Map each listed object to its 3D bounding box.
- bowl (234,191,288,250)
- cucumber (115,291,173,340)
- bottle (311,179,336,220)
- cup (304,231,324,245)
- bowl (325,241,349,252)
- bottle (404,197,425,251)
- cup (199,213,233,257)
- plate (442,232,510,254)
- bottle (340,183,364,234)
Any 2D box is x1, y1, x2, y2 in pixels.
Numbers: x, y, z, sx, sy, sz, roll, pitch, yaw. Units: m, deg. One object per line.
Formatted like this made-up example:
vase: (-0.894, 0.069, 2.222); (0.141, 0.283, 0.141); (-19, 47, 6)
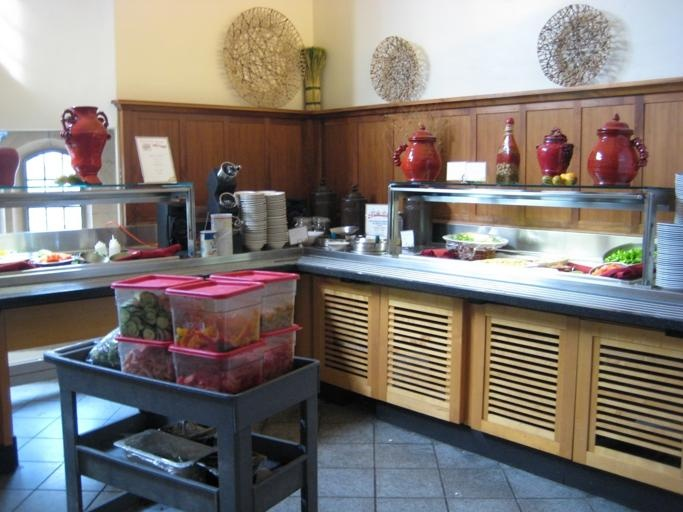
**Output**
bowl: (-0.599, -0.272, 4.313); (0.387, 0.445, 0.288); (-5, 14, -16)
cucumber: (-0.746, 0.205, 2.100); (0.202, 0.136, 0.192); (0, 3, -13)
bottle: (-0.180, -0.543, 5.417); (0.229, 0.404, 0.271); (1, 13, 8)
cup: (-0.223, -0.142, 4.469); (0.111, 0.050, 0.117); (-4, -4, 0)
bowl: (-0.038, -0.084, 4.309); (0.197, 0.084, 0.109); (-1, 13, -2)
bottle: (0.612, -0.279, 4.584); (0.177, 0.401, 0.217); (0, 13, 6)
cup: (-0.890, -0.157, 3.978); (0.234, 0.276, 0.305); (-3, 13, -10)
plate: (0.972, -0.100, 4.123); (0.401, 0.074, 0.593); (9, 16, 36)
bottle: (0.124, -0.426, 5.117); (0.211, 0.454, 0.374); (-5, 14, -15)
